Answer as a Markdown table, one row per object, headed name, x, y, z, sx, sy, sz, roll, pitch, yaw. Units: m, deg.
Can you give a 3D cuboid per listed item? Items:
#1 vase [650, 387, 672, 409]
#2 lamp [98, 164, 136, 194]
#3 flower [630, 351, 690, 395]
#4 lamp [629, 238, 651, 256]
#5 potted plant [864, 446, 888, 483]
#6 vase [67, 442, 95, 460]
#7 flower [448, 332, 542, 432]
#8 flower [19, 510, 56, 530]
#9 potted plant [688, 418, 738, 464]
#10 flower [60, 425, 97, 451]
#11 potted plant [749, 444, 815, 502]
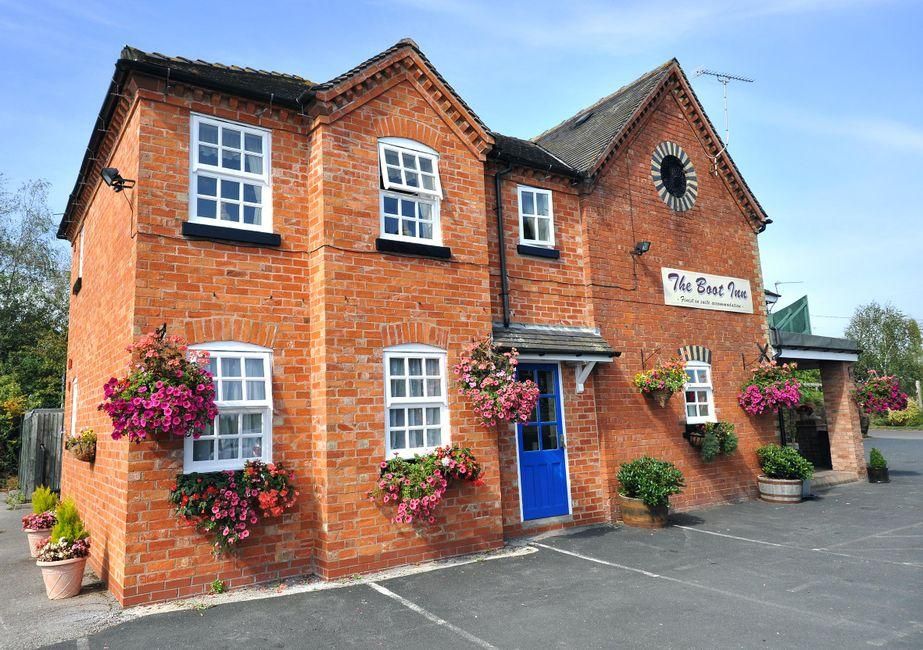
| name | x | y | z | sx | sy | sz | roll | pitch | yaw |
| --- | --- | --- | --- | --- | --- | --- | --- | --- | --- |
| vase | 4.786 | 1.745 | 16.604 | 0.455 | 0.451 | 0.668 | -1 | 0 | 15 |
| lamp | -6.077 | -2.577 | 12.281 | 0.420 | 0.473 | 0.637 | -1 | 0 | -35 |
| flower | 4.687 | 1.192 | 16.703 | 1.129 | 1.170 | 1.104 | 1 | -5 | -9 |
| lamp | 4.477 | -1.884 | 17.091 | 0.197 | 0.389 | 0.542 | 22 | -11 | -36 |
| potted plant | 12.451 | 4.159 | 20.797 | 0.556 | 0.878 | 1.160 | -1 | 0 | 31 |
| vase | -7.303 | 2.390 | 13.385 | 0.340 | 0.513 | 0.666 | -1 | 0 | -41 |
| flower | 0.618 | 1.044 | 13.684 | 1.692 | 1.721 | 0.916 | 4 | -23 | -22 |
| flower | -8.228 | 3.797 | 13.478 | 0.434 | 0.304 | 0.427 | -15 | -20 | 42 |
| potted plant | 6.206 | 2.906 | 17.265 | 1.396 | 0.898 | 0.586 | -1 | 0 | -36 |
| flower | -7.401 | 2.199 | 13.393 | 0.735 | 0.419 | 0.734 | -2 | -4 | 45 |
| potted plant | 8.427 | 3.850 | 18.130 | 1.265 | 1.639 | 1.605 | 2 | -4 | -21 |
